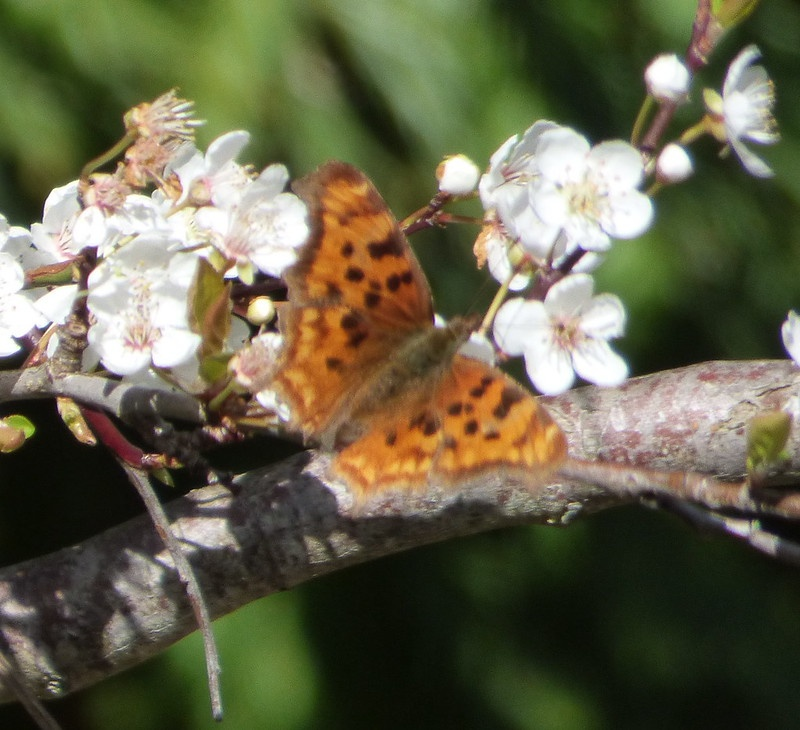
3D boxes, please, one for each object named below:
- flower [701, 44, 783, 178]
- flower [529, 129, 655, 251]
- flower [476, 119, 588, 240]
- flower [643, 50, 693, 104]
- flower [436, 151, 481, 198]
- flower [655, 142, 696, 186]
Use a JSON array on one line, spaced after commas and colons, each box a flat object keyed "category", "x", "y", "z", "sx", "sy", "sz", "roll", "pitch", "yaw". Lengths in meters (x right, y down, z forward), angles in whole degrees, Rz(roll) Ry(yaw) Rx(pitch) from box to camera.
[{"category": "flower", "x": 0.629, "y": -0.469, "z": 2.785, "sx": 0.122, "sy": 0.282, "sz": 0.311, "roll": -6, "pitch": 50, "yaw": 14}, {"category": "flower", "x": 0.327, "y": -0.290, "z": 2.583, "sx": 0.191, "sy": 0.177, "sz": 0.183, "roll": -7, "pitch": 49, "yaw": 13}, {"category": "flower", "x": 0.239, "y": -0.326, "z": 2.664, "sx": 0.180, "sy": 0.093, "sz": 0.218, "roll": 18, "pitch": 88, "yaw": 38}, {"category": "flower", "x": 0.461, "y": -0.492, "z": 2.601, "sx": 0.076, "sy": 0.043, "sz": 0.087, "roll": 24, "pitch": 102, "yaw": 17}, {"category": "flower", "x": 0.106, "y": -0.329, "z": 2.701, "sx": 0.067, "sy": 0.045, "sz": 0.079, "roll": 4, "pitch": 67, "yaw": -2}, {"category": "flower", "x": 0.471, "y": -0.344, "z": 2.603, "sx": 0.070, "sy": 0.043, "sz": 0.055, "roll": -44, "pitch": 81, "yaw": 20}]
